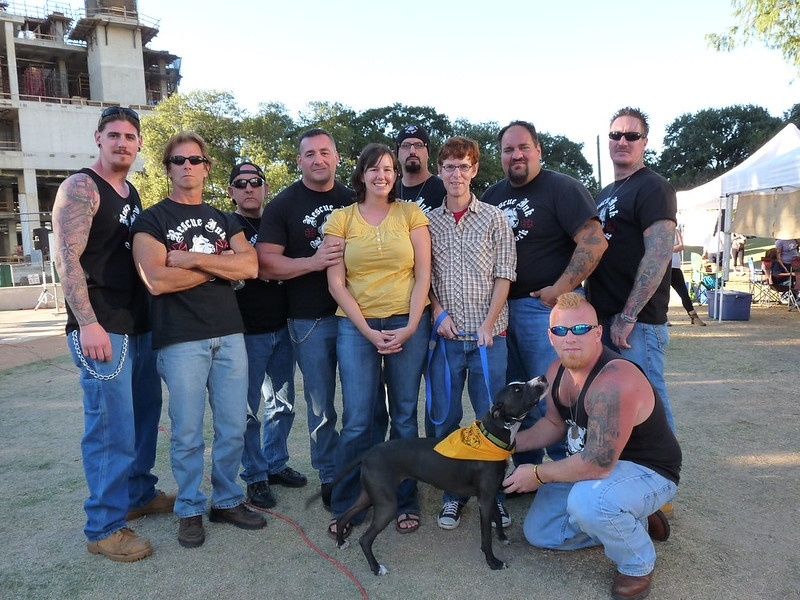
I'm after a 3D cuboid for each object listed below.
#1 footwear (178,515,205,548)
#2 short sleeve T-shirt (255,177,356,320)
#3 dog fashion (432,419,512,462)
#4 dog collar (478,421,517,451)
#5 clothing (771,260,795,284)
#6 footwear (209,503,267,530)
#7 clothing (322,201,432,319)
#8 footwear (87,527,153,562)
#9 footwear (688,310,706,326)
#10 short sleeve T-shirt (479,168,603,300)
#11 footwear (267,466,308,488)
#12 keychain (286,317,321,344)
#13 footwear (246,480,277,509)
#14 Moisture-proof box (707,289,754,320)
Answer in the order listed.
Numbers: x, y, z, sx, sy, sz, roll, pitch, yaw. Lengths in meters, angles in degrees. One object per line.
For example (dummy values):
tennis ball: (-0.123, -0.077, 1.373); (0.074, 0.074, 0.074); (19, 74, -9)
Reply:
footwear: (-1.496, 1.659, 4.701); (0.204, 0.194, 0.196); (-7, 11, -28)
short sleeve T-shirt: (-0.707, -0.372, 5.003); (1.066, 1.132, 0.390); (-3, 5, -16)
dog fashion: (0.492, 1.003, 4.451); (0.458, 0.236, 0.268); (5, 24, -5)
dog collar: (0.663, 0.926, 4.467); (0.207, 0.062, 0.173); (33, -1, -3)
clothing: (7.633, -0.546, 12.997); (0.349, 0.449, 0.314); (-1, 1, -18)
footwear: (-1.189, 1.605, 4.937); (0.446, 0.205, 0.164); (4, 2, 4)
clothing: (-0.166, -0.297, 4.851); (0.755, 0.842, 0.302); (-3, 10, -7)
footwear: (-1.966, 1.715, 4.575); (0.404, 0.164, 0.201); (2, 2, 13)
footwear: (5.120, 0.317, 11.276); (0.176, 0.271, 0.534); (-19, -7, 6)
short sleeve T-shirt: (1.092, -0.607, 5.388); (0.522, 1.026, 1.184); (-17, 13, -40)
footwear: (-0.931, 1.490, 5.479); (0.333, 0.141, 0.132); (0, 9, 3)
keychain: (-0.745, 0.233, 4.990); (0.208, 0.157, 0.189); (2, 1, 9)
footwear: (-1.091, 1.541, 5.146); (0.120, 0.129, 0.297); (1, -7, -36)
Moisture-proof box: (5.866, 0.086, 11.678); (0.516, 0.473, 0.770); (1, -1, -4)
